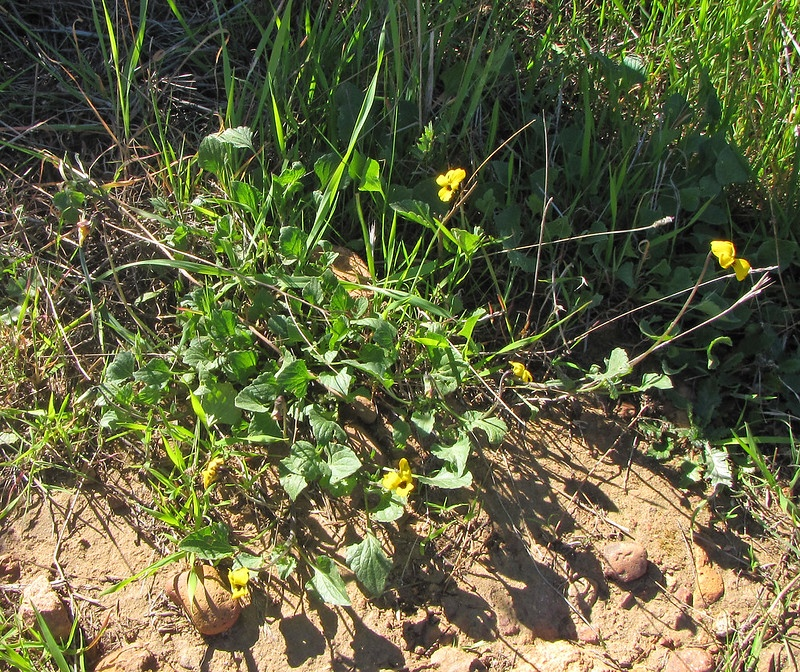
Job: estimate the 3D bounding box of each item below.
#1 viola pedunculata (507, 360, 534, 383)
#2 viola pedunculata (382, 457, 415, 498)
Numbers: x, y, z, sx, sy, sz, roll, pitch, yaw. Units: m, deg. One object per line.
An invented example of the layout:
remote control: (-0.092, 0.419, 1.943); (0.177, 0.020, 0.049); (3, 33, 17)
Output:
viola pedunculata: (0.414, 0.124, 2.322); (0.081, 0.032, 0.082); (44, 19, 13)
viola pedunculata: (-0.002, 0.452, 2.159); (0.113, 0.058, 0.135); (-14, 81, 12)
